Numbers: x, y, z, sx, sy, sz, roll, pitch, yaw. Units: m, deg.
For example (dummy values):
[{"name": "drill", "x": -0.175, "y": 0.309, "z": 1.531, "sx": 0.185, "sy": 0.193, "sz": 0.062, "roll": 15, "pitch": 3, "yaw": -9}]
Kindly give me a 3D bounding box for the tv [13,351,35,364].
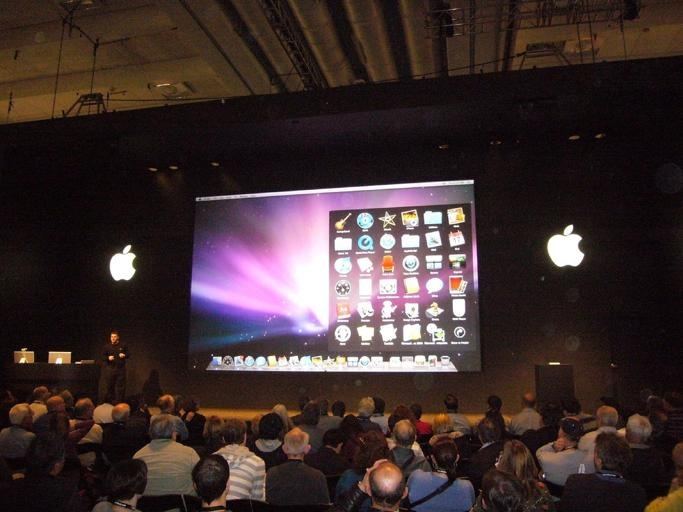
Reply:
[{"name": "tv", "x": -5.745, "y": 1.831, "z": 10.765, "sx": 0.271, "sy": 0.253, "sz": 0.152, "roll": 0, "pitch": -10, "yaw": -22}]
